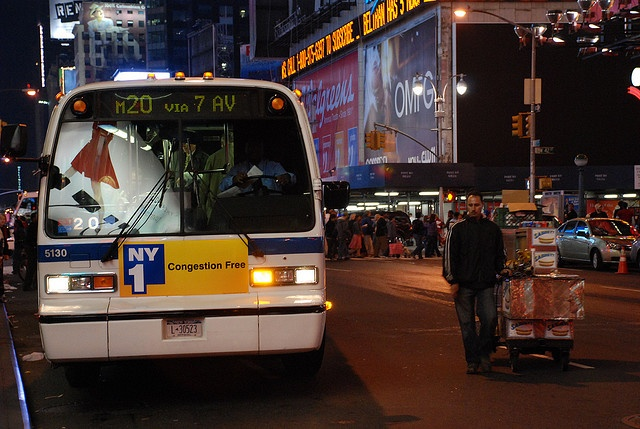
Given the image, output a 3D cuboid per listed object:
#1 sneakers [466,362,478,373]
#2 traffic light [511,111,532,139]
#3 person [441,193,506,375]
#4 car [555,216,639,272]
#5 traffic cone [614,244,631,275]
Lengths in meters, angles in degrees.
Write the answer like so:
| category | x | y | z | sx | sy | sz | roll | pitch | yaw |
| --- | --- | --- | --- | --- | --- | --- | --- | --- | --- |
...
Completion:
| category | x | y | z | sx | sy | sz | roll | pitch | yaw |
| --- | --- | --- | --- | --- | --- | --- | --- | --- | --- |
| sneakers | 2.072 | 2.129 | 9.912 | 0.157 | 0.148 | 0.300 | -1 | 1 | 17 |
| traffic light | 8.537 | -4.002 | 30.788 | 0.754 | 1.144 | 1.981 | -1 | 1 | 16 |
| person | 2.102 | 0.944 | 9.928 | 0.856 | 2.519 | 0.387 | -1 | 1 | 5 |
| car | 10.058 | 1.046 | 26.786 | 1.974 | 1.697 | 4.508 | 0 | -4 | -13 |
| traffic cone | 10.138 | 1.532 | 24.257 | 0.304 | 0.875 | 0.945 | 0 | 2 | 22 |
